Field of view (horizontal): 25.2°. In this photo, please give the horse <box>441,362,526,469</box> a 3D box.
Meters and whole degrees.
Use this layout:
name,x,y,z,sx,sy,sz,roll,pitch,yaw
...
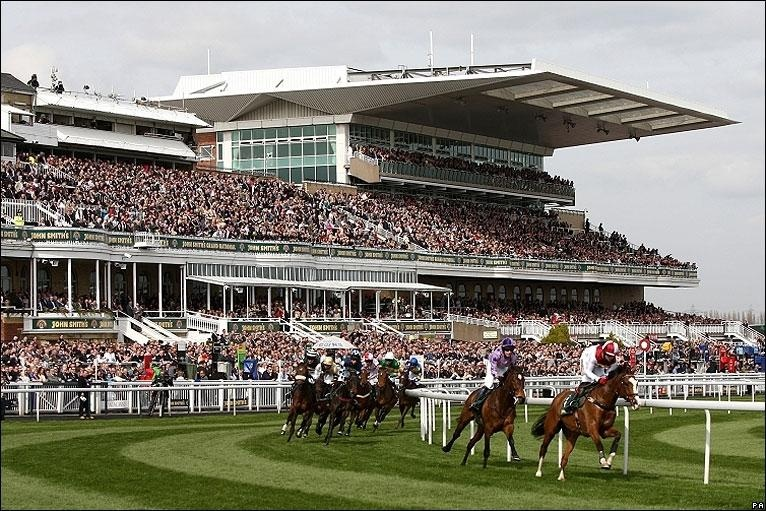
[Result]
name,x,y,z,sx,sy,sz,roll,pitch,yaw
horse,3.086,4.444,47.724,1.293,2.985,2.204,2,5,-30

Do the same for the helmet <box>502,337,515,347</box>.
name,x,y,z,sx,sy,sz,roll,pitch,yaw
helmet,3.453,2.382,47.224,0.217,0.163,0.295,0,2,-35

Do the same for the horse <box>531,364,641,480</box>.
name,x,y,z,sx,sy,sz,roll,pitch,yaw
horse,5.531,4.719,47.327,1.024,3.081,4.850,14,-14,-25

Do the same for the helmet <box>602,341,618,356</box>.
name,x,y,z,sx,sy,sz,roll,pitch,yaw
helmet,6.192,2.476,46.383,0.311,0.248,0.413,11,27,-14
